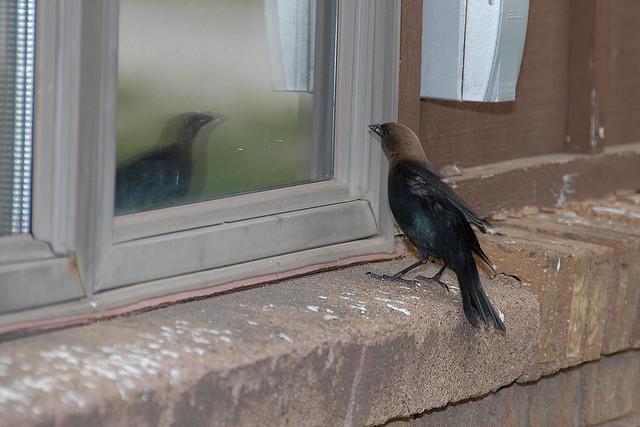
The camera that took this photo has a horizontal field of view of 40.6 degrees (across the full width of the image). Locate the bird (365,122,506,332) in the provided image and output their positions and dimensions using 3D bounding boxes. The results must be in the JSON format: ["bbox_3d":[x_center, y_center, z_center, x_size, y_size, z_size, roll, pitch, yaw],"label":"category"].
[{"bbox_3d":[0.401,0.047,3.042,0.220,0.688,0.609,-10,14,-25],"label":"bird"}]

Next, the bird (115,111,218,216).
[{"bbox_3d":[-0.542,-0.167,2.953,0.089,0.307,0.376,7,17,40],"label":"bird"}]
